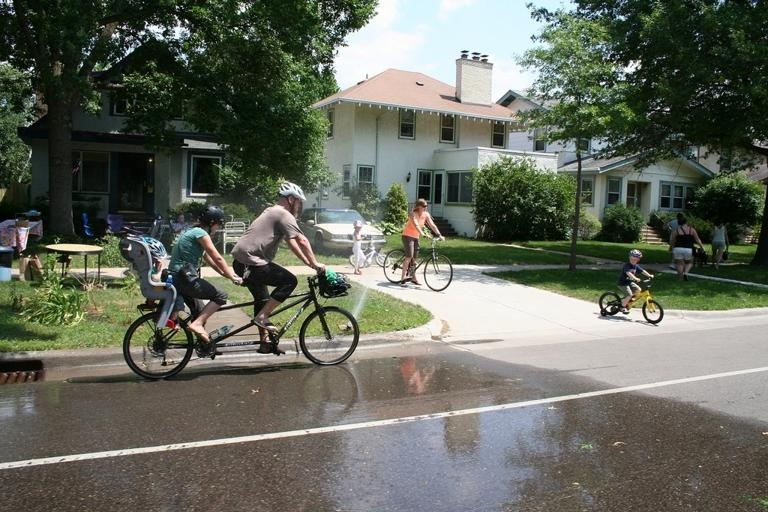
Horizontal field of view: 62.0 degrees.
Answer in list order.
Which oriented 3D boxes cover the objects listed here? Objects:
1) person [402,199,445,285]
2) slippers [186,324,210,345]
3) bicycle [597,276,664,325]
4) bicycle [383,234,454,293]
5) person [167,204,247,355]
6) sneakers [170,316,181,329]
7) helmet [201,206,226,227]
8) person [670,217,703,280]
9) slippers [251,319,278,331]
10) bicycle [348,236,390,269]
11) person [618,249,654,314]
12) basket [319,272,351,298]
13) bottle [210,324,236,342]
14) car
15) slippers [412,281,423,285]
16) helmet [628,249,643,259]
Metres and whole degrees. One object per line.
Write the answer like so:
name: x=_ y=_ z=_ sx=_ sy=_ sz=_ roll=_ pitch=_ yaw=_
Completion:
person: x=0.938 y=-0.410 z=16.804 sx=0.871 sy=2.304 sz=1.384 roll=4 pitch=14 yaw=4
slippers: x=-2.811 y=1.188 z=9.797 sx=0.125 sy=0.182 sz=0.465 roll=-12 pitch=26 yaw=-35
bicycle: x=5.584 y=0.996 z=14.453 sx=1.436 sy=0.911 sz=0.659 roll=10 pitch=4 yaw=38
bicycle: x=0.903 y=0.149 z=17.041 sx=2.230 sy=1.390 sz=1.075 roll=9 pitch=0 yaw=37
person: x=-2.799 y=0.395 z=9.913 sx=0.948 sy=2.258 sz=0.660 roll=-1 pitch=14 yaw=-16
sneakers: x=-3.167 y=1.029 z=9.735 sx=0.159 sy=0.155 sz=0.132 roll=-2 pitch=1 yaw=-27
helmet: x=-2.654 y=-0.675 z=10.009 sx=0.361 sy=0.354 sz=0.289 roll=-4 pitch=26 yaw=-16
person: x=9.389 y=-0.257 z=19.889 sx=0.947 sy=2.009 sz=0.830 roll=2 pitch=5 yaw=32
slippers: x=-1.894 y=1.113 z=10.198 sx=0.324 sy=0.088 sz=0.172 roll=7 pitch=4 yaw=0
bicycle: x=-0.456 y=-0.053 z=18.980 sx=1.262 sy=0.790 sz=0.701 roll=-4 pitch=-3 yaw=26
person: x=5.861 y=0.525 z=15.004 sx=0.639 sy=1.501 sz=1.479 roll=8 pitch=15 yaw=22
basket: x=-0.789 y=0.481 z=10.557 sx=0.480 sy=0.348 sz=0.357 roll=1 pitch=3 yaw=5
bottle: x=-2.542 y=1.223 z=10.119 sx=0.348 sy=0.254 sz=0.127 roll=-26 pitch=-2 yaw=-19
car: x=-1.644 y=-0.923 z=22.531 sx=1.407 sy=0.985 sz=3.131 roll=-1 pitch=3 yaw=-24
slippers: x=0.894 y=0.704 z=16.851 sx=0.271 sy=0.106 sz=0.101 roll=8 pitch=17 yaw=10
helmet: x=6.901 y=-0.061 z=17.552 sx=0.316 sy=0.300 sz=0.411 roll=6 pitch=-37 yaw=24
